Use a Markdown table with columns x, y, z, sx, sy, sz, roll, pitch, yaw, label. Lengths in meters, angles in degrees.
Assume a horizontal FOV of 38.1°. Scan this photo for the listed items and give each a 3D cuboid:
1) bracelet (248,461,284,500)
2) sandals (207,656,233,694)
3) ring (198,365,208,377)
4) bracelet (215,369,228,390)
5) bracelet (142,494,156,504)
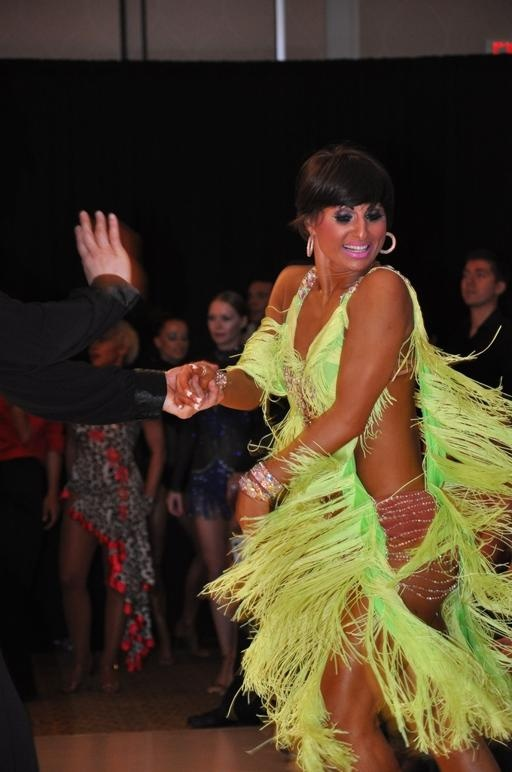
| x | y | z | sx | sy | sz | roll | pitch | yaw | label |
| --- | --- | --- | --- | --- | --- | --- | --- | --- | --- |
| 0.030 | 0.181 | 1.394 | 0.026 | 0.069 | 0.057 | -47 | 46 | -13 | bracelet |
| -0.100 | 0.948 | 2.457 | 0.053 | 0.095 | 0.144 | 1 | 17 | 21 | sandals |
| -0.119 | -0.032 | 1.630 | 0.018 | 0.021 | 0.009 | -2 | -7 | 3 | ring |
| -0.078 | -0.015 | 1.663 | 0.032 | 0.037 | 0.018 | -3 | -12 | -29 | bracelet |
| -0.362 | 0.386 | 2.497 | 0.028 | 0.028 | 0.031 | 38 | 31 | 4 | bracelet |
